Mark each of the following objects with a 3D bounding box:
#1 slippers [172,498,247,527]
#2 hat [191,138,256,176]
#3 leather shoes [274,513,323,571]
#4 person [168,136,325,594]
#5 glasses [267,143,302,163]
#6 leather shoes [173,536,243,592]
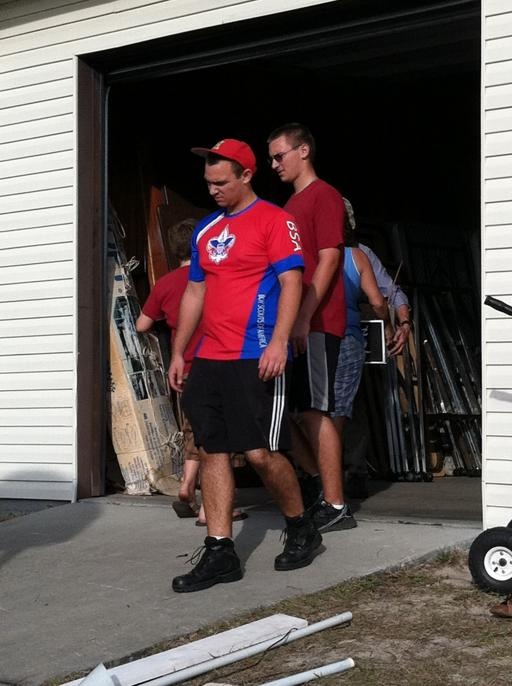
[{"bbox_3d":[-0.297,0.936,3.707,0.475,0.171,0.150,-2,2,-11],"label":"slippers"},{"bbox_3d":[-0.103,-0.729,2.597,0.237,0.099,0.146,19,5,-23],"label":"hat"},{"bbox_3d":[0.157,0.796,2.675,0.120,0.197,0.314,-5,2,34],"label":"leather shoes"},{"bbox_3d":[-0.059,0.042,2.715,0.523,1.756,0.623,-2,-5,3],"label":"person"},{"bbox_3d":[0.157,-0.946,3.318,0.099,0.028,0.094,-31,15,-26],"label":"glasses"},{"bbox_3d":[-0.193,0.819,2.466,0.302,0.176,0.101,3,-9,-37],"label":"leather shoes"}]
